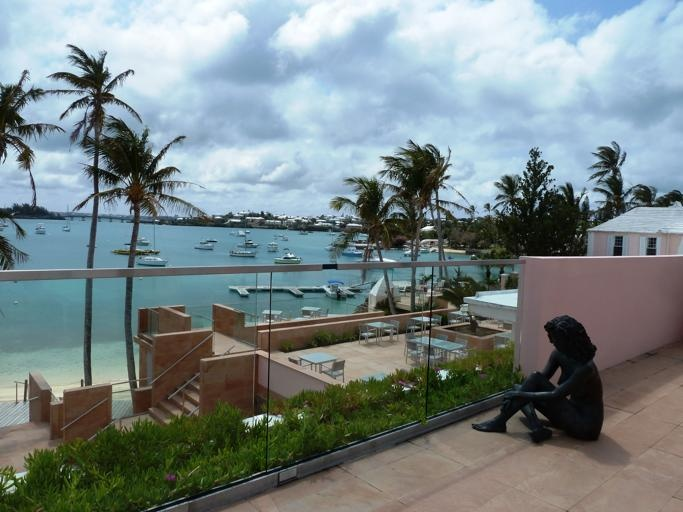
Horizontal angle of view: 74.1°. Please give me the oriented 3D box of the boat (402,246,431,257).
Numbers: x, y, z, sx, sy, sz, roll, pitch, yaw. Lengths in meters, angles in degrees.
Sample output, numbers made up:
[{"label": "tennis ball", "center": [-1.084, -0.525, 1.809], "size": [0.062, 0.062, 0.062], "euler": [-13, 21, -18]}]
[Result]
[{"label": "boat", "center": [7.035, -0.275, 40.026], "size": [3.400, 1.004, 0.993], "euler": [-2, 10, 7]}]

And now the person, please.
[{"label": "person", "center": [2.553, 1.612, 5.950], "size": [1.600, 1.586, 0.988], "euler": [0, 2, 9]}]

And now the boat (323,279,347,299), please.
[{"label": "boat", "center": [-0.119, 0.568, 7.672], "size": [0.314, 0.231, 0.759], "euler": [-1, 2, -5]}]
